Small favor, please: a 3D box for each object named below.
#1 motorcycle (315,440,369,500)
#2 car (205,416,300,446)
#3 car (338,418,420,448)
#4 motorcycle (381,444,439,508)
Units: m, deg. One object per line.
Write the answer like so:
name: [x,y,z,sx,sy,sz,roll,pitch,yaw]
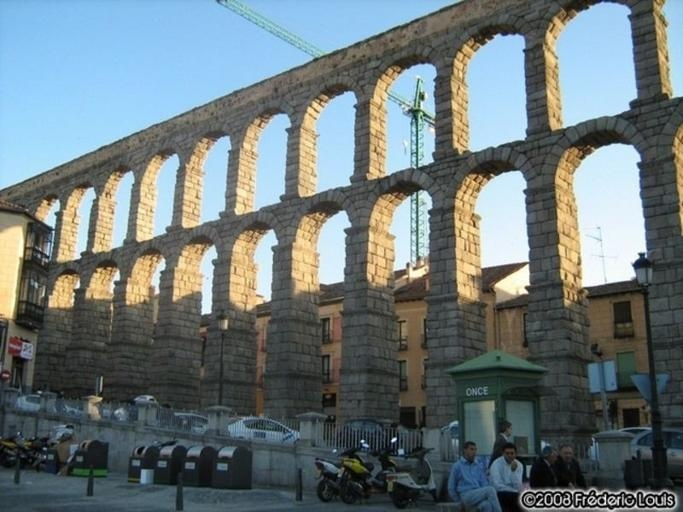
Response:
motorcycle: [0.001,6.399,23.525,2.330,1.500,0.751,-3,-15,12]
car: [-2.985,6.399,29.182,2.135,0.705,1.093,0,-11,6]
car: [1.657,6.204,27.720,2.198,1.139,1.768,-12,-13,30]
motorcycle: [2.101,6.615,23.594,1.042,1.510,2.146,-17,-18,38]
